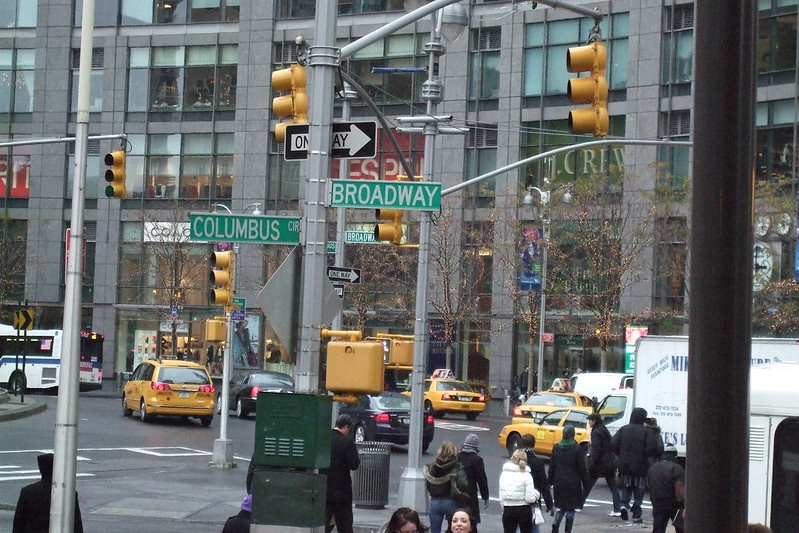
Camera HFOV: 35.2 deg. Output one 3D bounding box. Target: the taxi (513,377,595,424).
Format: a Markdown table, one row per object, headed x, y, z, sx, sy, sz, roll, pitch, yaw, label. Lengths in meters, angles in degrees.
| x | y | z | sx | sy | sz | roll | pitch | yaw | label |
| --- | --- | --- | --- | --- | --- | --- | --- | --- | --- |
| 5.328 | 4.653 | 43.155 | 1.497 | 1.205 | 2.636 | -1 | 2 | 29 | taxi |

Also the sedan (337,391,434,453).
| x | y | z | sx | sy | sz | roll | pitch | yaw | label |
| --- | --- | --- | --- | --- | --- | --- | --- | --- | --- |
| -0.491 | 5.399 | 41.809 | 1.883 | 1.670 | 4.596 | 1 | -1 | -24 | sedan |

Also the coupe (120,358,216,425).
| x | y | z | sx | sy | sz | roll | pitch | yaw | label |
| --- | --- | --- | --- | --- | --- | --- | --- | --- | --- |
| -8.563 | 4.542 | 46.033 | 3.585 | 2.209 | 1.797 | -2 | -5 | 32 | coupe |

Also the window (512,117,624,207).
| x | y | z | sx | sy | sz | roll | pitch | yaw | label |
| --- | --- | --- | --- | --- | --- | --- | --- | --- | --- |
| 7.517 | -4.256 | 54.621 | 4.138 | 3.339 | 0.162 | -4 | -17 | 14 | window |

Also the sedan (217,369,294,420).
| x | y | z | sx | sy | sz | roll | pitch | yaw | label |
| --- | --- | --- | --- | --- | --- | --- | --- | --- | --- |
| -5.490 | 4.928 | 48.323 | 1.639 | 1.790 | 3.470 | 4 | -5 | -37 | sedan |

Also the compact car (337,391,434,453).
| x | y | z | sx | sy | sz | roll | pitch | yaw | label |
| --- | --- | --- | --- | --- | --- | --- | --- | --- | --- |
| -0.474 | 5.112 | 41.785 | 1.883 | 1.670 | 4.596 | 1 | -1 | -24 | compact car |

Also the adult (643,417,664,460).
| x | y | z | sx | sy | sz | roll | pitch | yaw | label |
| --- | --- | --- | --- | --- | --- | --- | --- | --- | --- |
| 6.762 | 4.512 | 33.031 | 0.311 | 0.943 | 0.658 | -6 | -6 | 13 | adult |

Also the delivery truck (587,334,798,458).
| x | y | z | sx | sy | sz | roll | pitch | yaw | label |
| --- | --- | --- | --- | --- | --- | --- | --- | --- | --- |
| 7.933 | 3.921 | 37.725 | 7.683 | 4.530 | 3.258 | 1 | -1 | 16 | delivery truck |

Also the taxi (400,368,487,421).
| x | y | z | sx | sy | sz | roll | pitch | yaw | label |
| --- | --- | --- | --- | --- | --- | --- | --- | --- | --- |
| 1.665 | 5.600 | 53.591 | 1.903 | 1.952 | 4.292 | 1 | 1 | -23 | taxi |

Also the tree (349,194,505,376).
| x | y | z | sx | sy | sz | roll | pitch | yaw | label |
| --- | --- | --- | --- | --- | --- | --- | --- | --- | --- |
| 1.640 | 0.732 | 52.356 | 7.528 | 9.540 | 0.457 | 4 | 6 | 30 | tree |

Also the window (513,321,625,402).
| x | y | z | sx | sy | sz | roll | pitch | yaw | label |
| --- | --- | --- | --- | --- | --- | --- | --- | --- | --- |
| 7.737 | 4.178 | 55.571 | 3.413 | 3.306 | 6.728 | 1 | 1 | 12 | window |

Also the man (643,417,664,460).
| x | y | z | sx | sy | sz | roll | pitch | yaw | label |
| --- | --- | --- | --- | --- | --- | --- | --- | --- | --- |
| 6.757 | 4.477 | 33.050 | 0.311 | 0.943 | 0.658 | -6 | -6 | 13 | man |

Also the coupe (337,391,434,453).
| x | y | z | sx | sy | sz | roll | pitch | yaw | label |
| --- | --- | --- | --- | --- | --- | --- | --- | --- | --- |
| -0.564 | 5.430 | 42.192 | 1.883 | 1.670 | 4.596 | 1 | -1 | -24 | coupe |

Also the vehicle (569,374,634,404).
| x | y | z | sx | sy | sz | roll | pitch | yaw | label |
| --- | --- | --- | --- | --- | --- | --- | --- | --- | --- |
| 7.662 | 4.740 | 47.658 | 1.885 | 1.047 | 1.285 | 2 | -1 | 19 | vehicle |

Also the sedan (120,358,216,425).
| x | y | z | sx | sy | sz | roll | pitch | yaw | label |
| --- | --- | --- | --- | --- | --- | --- | --- | --- | --- |
| -8.570 | 4.543 | 46.035 | 3.591 | 2.209 | 1.788 | -2 | -5 | 33 | sedan |

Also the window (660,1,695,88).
| x | y | z | sx | sy | sz | roll | pitch | yaw | label |
| --- | --- | --- | --- | --- | --- | --- | --- | --- | --- |
| 13.000 | -10.126 | 58.661 | 1.458 | 3.766 | 0.491 | -1 | -4 | 26 | window |

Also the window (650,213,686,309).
| x | y | z | sx | sy | sz | roll | pitch | yaw | label |
| --- | --- | --- | --- | --- | --- | --- | --- | --- | --- |
| 12.117 | -0.055 | 56.178 | 1.401 | 3.996 | 4.118 | 0 | -4 | 10 | window |

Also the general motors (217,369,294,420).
| x | y | z | sx | sy | sz | roll | pitch | yaw | label |
| --- | --- | --- | --- | --- | --- | --- | --- | --- | --- |
| -5.487 | 4.927 | 48.308 | 1.675 | 1.790 | 3.500 | 3 | -5 | -35 | general motors |

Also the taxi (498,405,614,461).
| x | y | z | sx | sy | sz | roll | pitch | yaw | label |
| --- | --- | --- | --- | --- | --- | --- | --- | --- | --- |
| 4.765 | 5.232 | 40.152 | 1.431 | 1.235 | 3.278 | 5 | -4 | -42 | taxi |
